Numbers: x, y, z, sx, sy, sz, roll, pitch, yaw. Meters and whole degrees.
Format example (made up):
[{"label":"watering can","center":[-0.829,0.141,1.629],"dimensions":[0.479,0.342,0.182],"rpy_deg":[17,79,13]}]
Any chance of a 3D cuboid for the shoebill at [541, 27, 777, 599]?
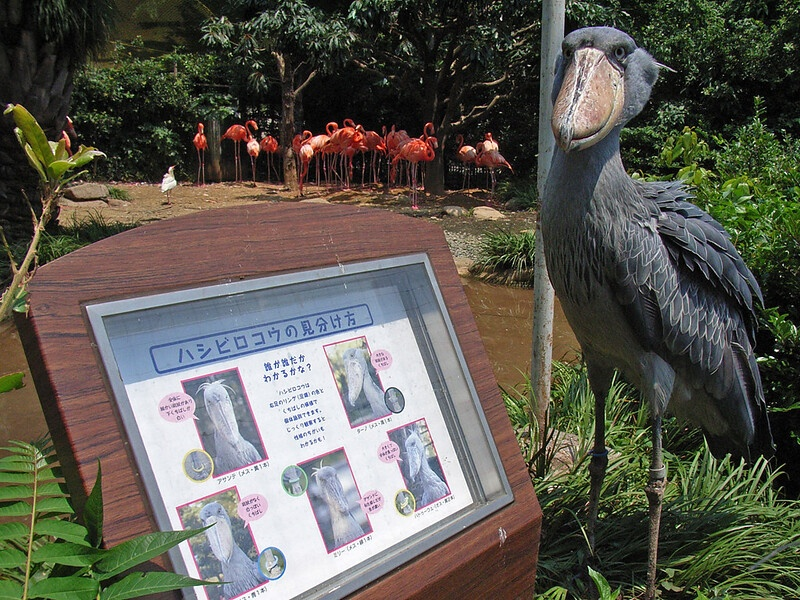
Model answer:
[{"label":"shoebill","center":[0.884,0.061,2.299],"dimensions":[1.025,1.972,0.384],"rpy_deg":[-10,11,-35]}]
